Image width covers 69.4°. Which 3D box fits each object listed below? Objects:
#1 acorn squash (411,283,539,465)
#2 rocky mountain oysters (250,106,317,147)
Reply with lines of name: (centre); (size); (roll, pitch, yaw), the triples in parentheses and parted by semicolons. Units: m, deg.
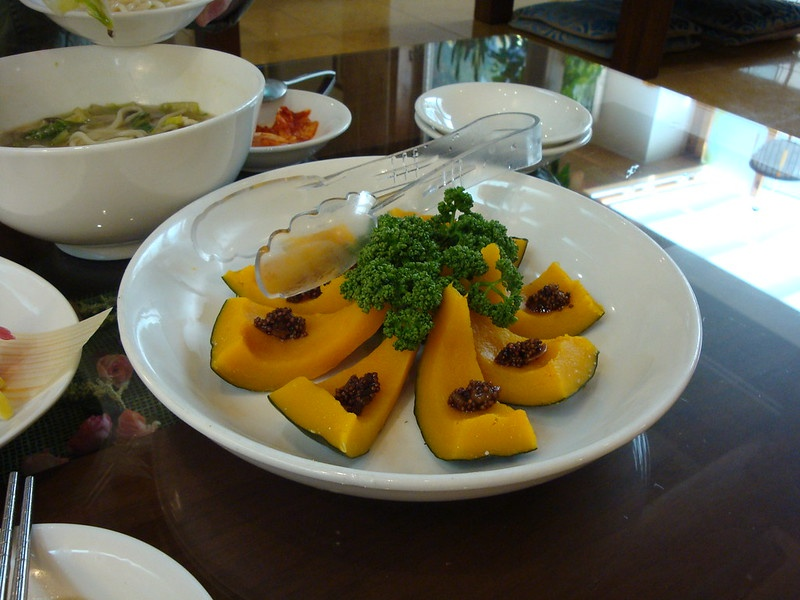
acorn squash: (0.062, 0.081, 0.675); (0.100, 0.052, 0.290); (-8, 31, -1)
rocky mountain oysters: (-0.200, -0.301, 1.026); (0.102, 0.041, 0.104); (-25, 54, -29)
